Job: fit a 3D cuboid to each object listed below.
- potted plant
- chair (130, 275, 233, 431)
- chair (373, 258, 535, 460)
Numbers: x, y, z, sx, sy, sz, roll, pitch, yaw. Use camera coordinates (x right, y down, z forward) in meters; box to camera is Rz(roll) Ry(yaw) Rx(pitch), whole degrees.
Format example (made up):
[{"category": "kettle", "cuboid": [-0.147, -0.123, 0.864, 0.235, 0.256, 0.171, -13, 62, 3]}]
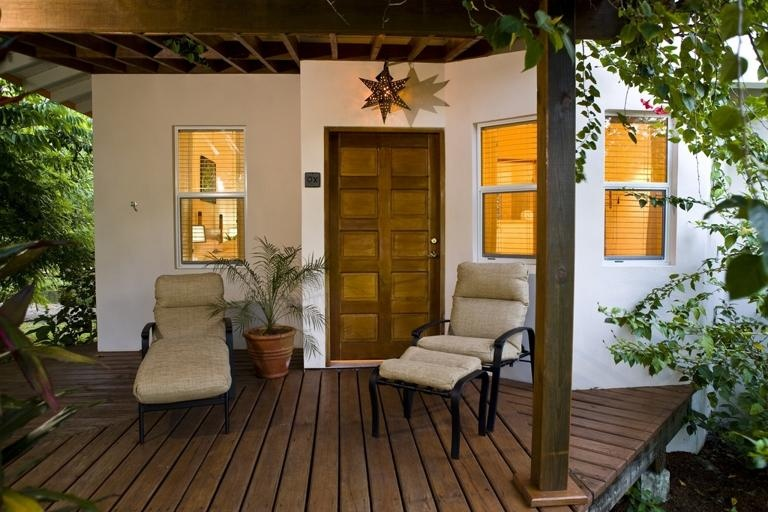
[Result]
[{"category": "potted plant", "cuboid": [-1.309, 0.705, 6.374, 1.294, 1.420, 1.160, 0, 4, -8]}, {"category": "chair", "cuboid": [-1.814, 0.905, 5.324, 0.874, 1.118, 1.769, -1, 17, -16]}, {"category": "chair", "cuboid": [0.773, 0.876, 5.173, 0.981, 1.454, 1.774, 3, 9, 38]}]
